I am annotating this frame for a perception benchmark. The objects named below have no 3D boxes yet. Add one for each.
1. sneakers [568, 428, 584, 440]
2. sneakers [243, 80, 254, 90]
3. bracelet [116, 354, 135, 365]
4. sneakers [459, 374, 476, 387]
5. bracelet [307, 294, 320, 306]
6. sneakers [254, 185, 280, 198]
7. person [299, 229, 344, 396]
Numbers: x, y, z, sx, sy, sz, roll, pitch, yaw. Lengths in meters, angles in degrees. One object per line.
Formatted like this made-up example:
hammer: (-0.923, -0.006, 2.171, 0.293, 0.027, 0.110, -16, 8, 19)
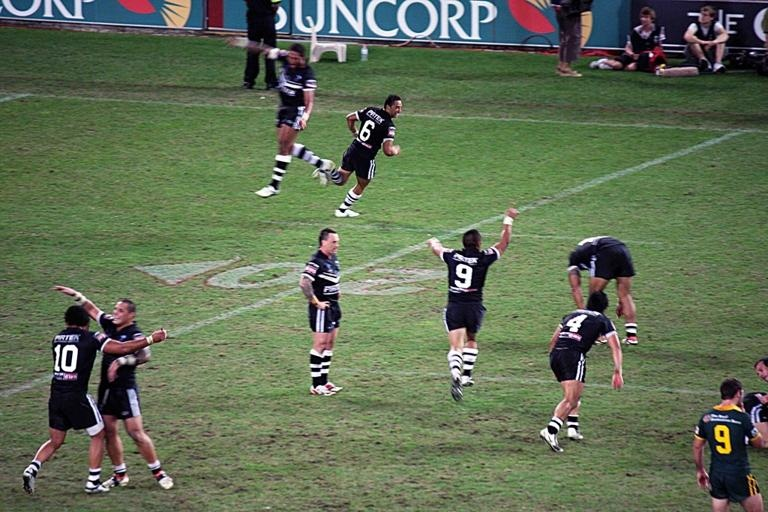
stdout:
sneakers: (3.107, 2.953, 19.219, 0.151, 0.107, 0.368, 3, 1, 36)
sneakers: (-3.777, -4.722, 32.075, 0.376, 0.165, 0.230, -9, 1, 17)
bracelet: (-4.004, 1.600, 18.043, 0.300, 0.151, 0.051, 2, 15, -5)
sneakers: (1.424, 2.191, 20.346, 0.432, 0.132, 0.159, -4, 8, -44)
bracelet: (-1.230, 0.733, 19.848, 0.290, 0.117, 0.202, 11, -28, 4)
sneakers: (-2.609, -1.421, 25.761, 0.644, 0.149, 0.251, 1, 11, 1)
person: (-1.087, 0.972, 20.087, 0.836, 2.906, 0.642, 5, 15, -4)
